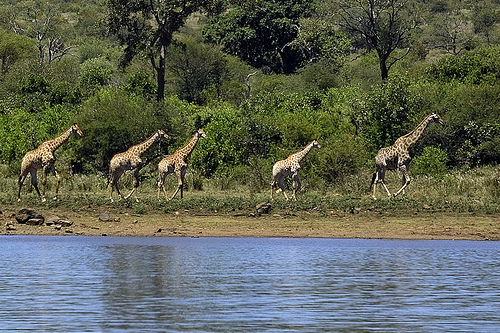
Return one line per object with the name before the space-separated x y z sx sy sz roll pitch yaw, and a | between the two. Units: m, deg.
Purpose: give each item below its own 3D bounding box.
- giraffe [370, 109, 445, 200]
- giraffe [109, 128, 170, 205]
giraffe | 8.469 -0.376 49.341 3.962 5.183 1.279 3 1 31
giraffe | -6.542 -0.513 52.216 3.378 4.292 10.508 -3 14 -9
